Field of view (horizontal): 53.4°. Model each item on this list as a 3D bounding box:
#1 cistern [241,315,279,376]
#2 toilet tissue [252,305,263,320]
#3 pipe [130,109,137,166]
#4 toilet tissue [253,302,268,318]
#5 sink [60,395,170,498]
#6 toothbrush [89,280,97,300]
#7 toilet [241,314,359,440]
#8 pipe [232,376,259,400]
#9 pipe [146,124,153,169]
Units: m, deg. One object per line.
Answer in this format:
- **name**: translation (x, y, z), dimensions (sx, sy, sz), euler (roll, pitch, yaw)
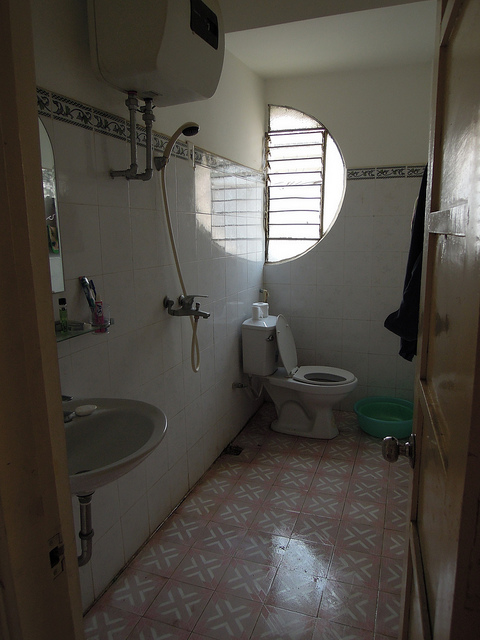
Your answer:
- **cistern**: translation (0.141, 0.182, 3.268), dimensions (0.242, 0.377, 0.271), euler (1, 8, 8)
- **toilet tissue**: translation (0.110, -0.045, 3.251), dimensions (0.061, 0.131, 0.073), euler (3, 2, 29)
- **pipe**: translation (-0.386, -0.656, 1.721), dimensions (0.020, 0.191, 0.029), euler (-4, 8, -27)
- **toilet tissue**: translation (0.153, -0.065, 3.349), dimensions (0.068, 0.110, 0.087), euler (-1, 4, 1)
- **sink**: translation (-0.380, 0.374, 1.479), dimensions (0.306, 0.185, 0.437), euler (-5, 10, -26)
- **toothbrush**: translation (-0.515, -0.103, 1.663), dimensions (0.009, 0.061, 0.020), euler (-2, 6, 6)
- **toilet**: translation (0.488, 0.296, 3.538), dimensions (0.764, 1.183, 0.596), euler (1, 12, 16)
- **pipe**: translation (0.042, 0.496, 3.346), dimensions (0.165, 0.095, 0.127), euler (7, 7, 17)
- **pipe**: translation (-0.340, -0.639, 1.772), dimensions (0.014, 0.160, 0.023), euler (0, 7, 5)
